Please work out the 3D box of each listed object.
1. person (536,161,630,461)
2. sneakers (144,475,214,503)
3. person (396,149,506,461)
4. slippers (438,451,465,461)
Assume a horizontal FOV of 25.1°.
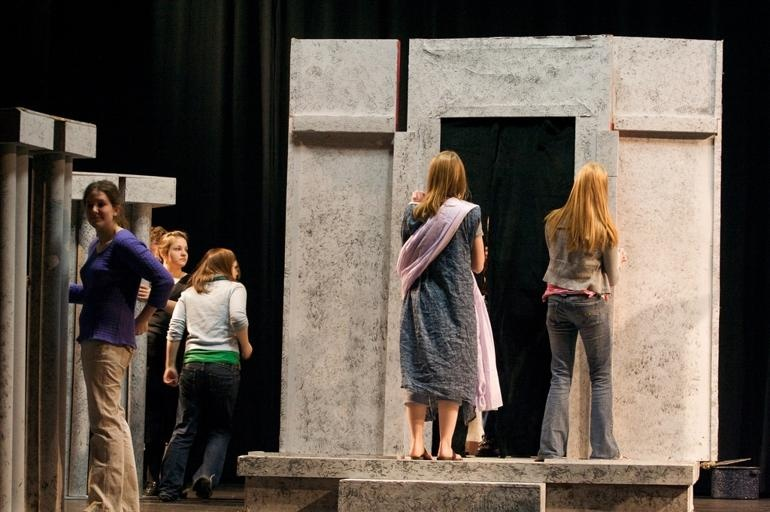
[{"bbox_3d":[1.413,0.385,12.338,0.574,2.088,0.210,2,-3,7],"label":"person"},{"bbox_3d":[-1.514,1.776,13.116,0.360,0.131,0.257,-3,-6,-3],"label":"sneakers"},{"bbox_3d":[0.370,0.334,11.942,0.584,2.119,0.205,3,-3,0],"label":"person"},{"bbox_3d":[0.456,1.368,11.957,0.151,0.060,0.070,-1,-2,-1],"label":"slippers"}]
